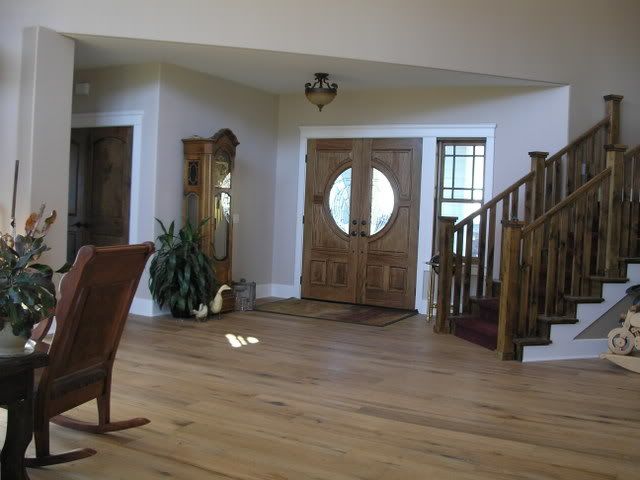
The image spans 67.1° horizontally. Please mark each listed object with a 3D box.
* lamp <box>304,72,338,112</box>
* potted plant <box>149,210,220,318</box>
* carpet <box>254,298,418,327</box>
[{"bbox_3d":[0.030,-2.024,6.661,0.425,0.503,0.464,4,8,17],"label":"lamp"},{"bbox_3d":[-1.818,0.409,6.402,0.794,1.124,0.759,-7,-14,-7],"label":"potted plant"},{"bbox_3d":[0.194,1.041,7.053,2.312,0.035,1.265,4,4,19],"label":"carpet"}]
